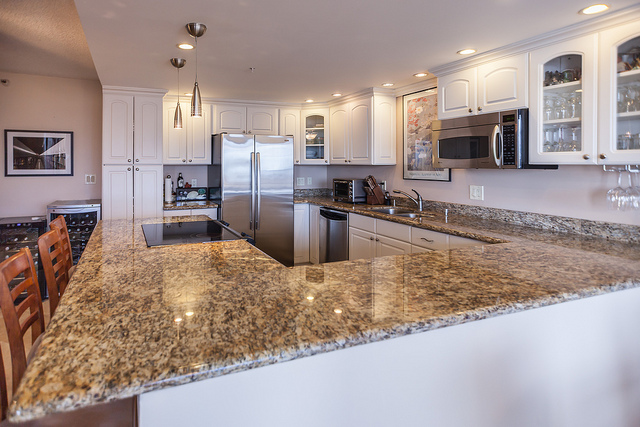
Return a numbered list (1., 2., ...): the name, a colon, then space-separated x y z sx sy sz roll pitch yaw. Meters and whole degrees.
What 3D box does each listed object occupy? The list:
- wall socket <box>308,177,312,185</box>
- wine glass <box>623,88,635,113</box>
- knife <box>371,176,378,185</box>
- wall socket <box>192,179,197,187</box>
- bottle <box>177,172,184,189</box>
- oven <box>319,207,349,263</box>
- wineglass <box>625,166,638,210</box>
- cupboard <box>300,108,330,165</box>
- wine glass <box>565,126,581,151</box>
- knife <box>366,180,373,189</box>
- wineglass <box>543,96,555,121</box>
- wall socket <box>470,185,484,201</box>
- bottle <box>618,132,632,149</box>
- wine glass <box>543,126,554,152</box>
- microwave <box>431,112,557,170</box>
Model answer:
1. wall socket: -0.161 -0.504 6.326 0.069 0.109 0.024 -3 9 -15
2. wine glass: 2.130 -0.781 2.769 0.061 0.165 0.045 5 10 33
3. knife: 0.716 -0.389 5.187 0.023 0.103 0.026 -26 13 29
4. wall socket: -1.770 -0.421 5.662 0.065 0.106 0.030 -4 9 -19
5. bottle: -1.932 -0.455 5.546 0.086 0.204 0.092 -1 9 0
6. oven: 0.202 0.281 5.209 0.510 0.707 0.453 -5 26 -7
7. wineglass: 2.261 -0.180 2.905 0.081 0.313 0.173 6 11 38
8. cupboard: -0.092 -1.089 5.785 0.456 0.753 0.394 0 8 -10
9. wine glass: 1.916 -0.566 3.040 0.058 0.188 0.133 -2 8 -5
10. knife: 0.622 -0.363 5.048 0.069 0.102 0.024 7 12 44
11. wineglass: 1.819 -0.837 3.189 0.085 0.189 0.052 5 10 32
12. wall socket: 1.583 -0.204 4.048 0.017 0.148 0.163 2 -2 -26
13. bottle: 2.112 -0.499 2.785 0.096 0.100 0.094 -2 4 -33
14. wine glass: 1.824 -0.590 3.197 0.087 0.204 0.047 7 12 43
15. microwave: 1.572 -0.674 3.799 0.558 0.456 1.075 -8 10 -24
